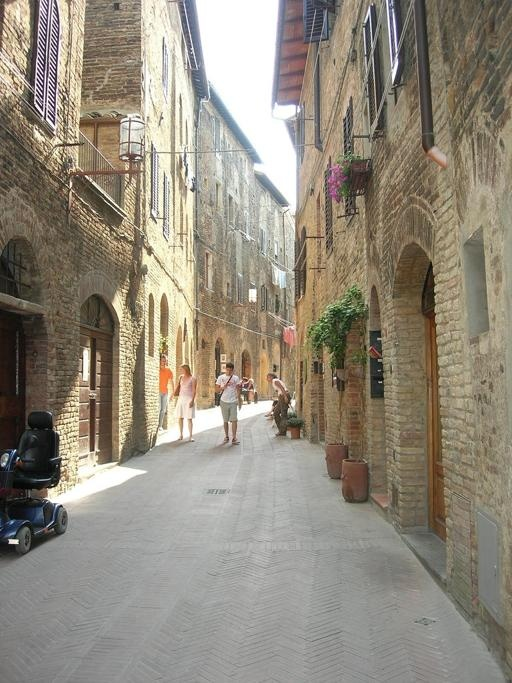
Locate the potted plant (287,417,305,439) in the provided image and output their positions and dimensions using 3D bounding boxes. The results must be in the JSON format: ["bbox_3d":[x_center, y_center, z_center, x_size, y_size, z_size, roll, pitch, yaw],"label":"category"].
[{"bbox_3d":[1.118,2.443,14.571,0.322,0.645,0.450,-1,-5,5],"label":"potted plant"}]

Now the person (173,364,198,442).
[{"bbox_3d":[-1.753,1.496,12.590,0.518,1.892,1.840,1,-5,-9],"label":"person"}]

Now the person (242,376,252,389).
[{"bbox_3d":[-0.578,2.645,33.201,0.426,0.743,0.915,0,-11,-4],"label":"person"}]

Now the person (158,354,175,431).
[{"bbox_3d":[-2.608,1.504,14.913,0.336,2.081,2.855,0,-6,-8],"label":"person"}]

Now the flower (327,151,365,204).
[{"bbox_3d":[1.216,-2.203,6.789,0.489,0.493,0.727,-1,-6,5],"label":"flower"}]

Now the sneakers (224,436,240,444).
[{"bbox_3d":[-0.592,2.374,12.235,0.406,0.282,0.179,-3,-8,20],"label":"sneakers"}]

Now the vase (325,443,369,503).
[{"bbox_3d":[1.273,1.807,6.889,0.292,0.625,0.532,0,-9,-2],"label":"vase"}]

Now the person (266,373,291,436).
[{"bbox_3d":[0.681,1.738,14.691,0.458,1.902,0.577,-5,-1,-37],"label":"person"}]

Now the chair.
[{"bbox_3d":[-2.202,1.046,5.072,0.419,0.811,0.441,-10,-17,37],"label":"chair"}]

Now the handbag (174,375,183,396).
[{"bbox_3d":[-2.198,1.223,14.398,0.102,0.561,0.260,11,-11,-39],"label":"handbag"}]
